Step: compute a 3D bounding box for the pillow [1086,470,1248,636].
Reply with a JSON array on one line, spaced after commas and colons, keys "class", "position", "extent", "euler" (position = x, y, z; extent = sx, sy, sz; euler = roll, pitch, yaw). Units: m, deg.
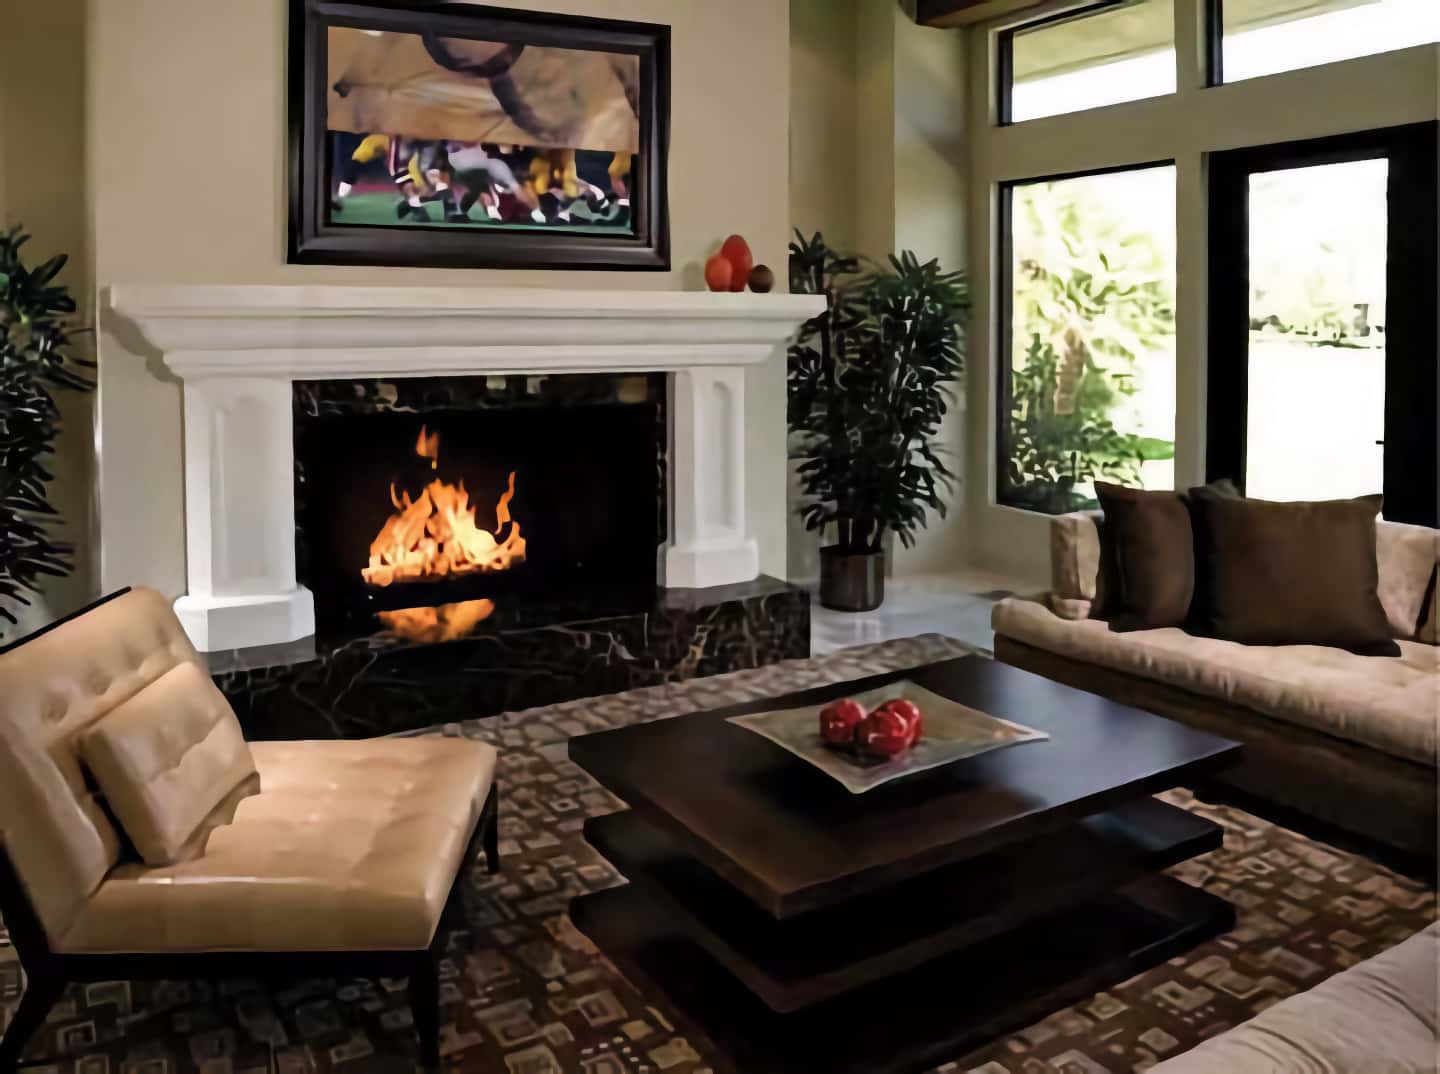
[{"class": "pillow", "position": [1.668, 0.087, 3.756], "extent": [0.707, 0.628, 0.229], "euler": [-3, -3, -5]}]

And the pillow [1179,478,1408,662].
[{"class": "pillow", "position": [2.033, 0.147, 3.590], "extent": [0.739, 0.641, 0.264], "euler": [1, -3, 12]}]

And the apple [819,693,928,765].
[{"class": "apple", "position": [0.416, 0.483, 2.550], "extent": [0.151, 0.081, 0.197], "euler": [0, 3, 33]}]

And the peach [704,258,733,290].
[{"class": "peach", "position": [-0.016, -1.256, 4.782], "extent": [0.135, 0.157, 0.145], "euler": [3, 8, 12]}]

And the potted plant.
[{"class": "potted plant", "position": [0.936, -0.741, 5.983], "extent": [1.045, 2.185, 1.168], "euler": [-2, 11, 6]}]
